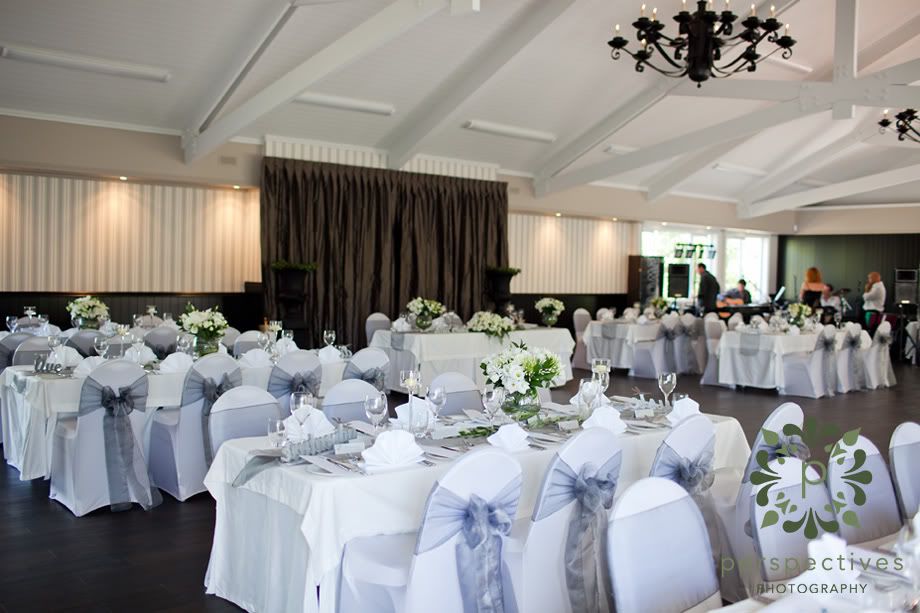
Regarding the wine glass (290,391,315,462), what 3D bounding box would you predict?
[{"bbox_3d":[-0.917,0.663,3.611,0.121,0.313,0.355,-1,5,-13],"label":"wine glass"}]
